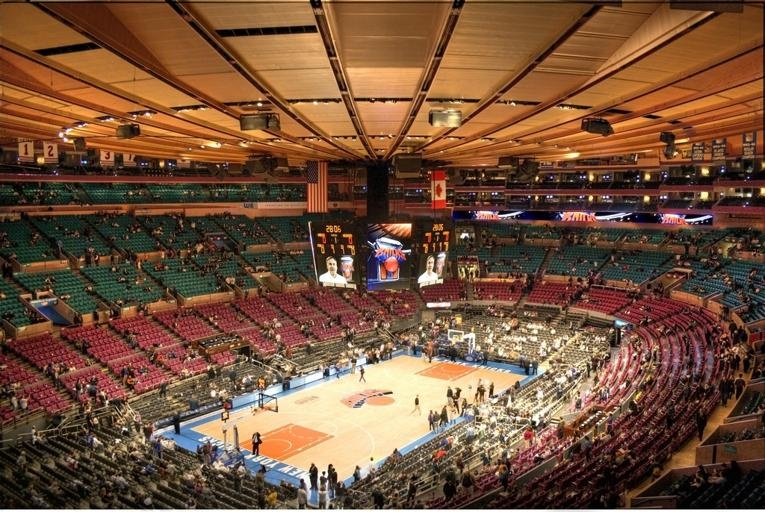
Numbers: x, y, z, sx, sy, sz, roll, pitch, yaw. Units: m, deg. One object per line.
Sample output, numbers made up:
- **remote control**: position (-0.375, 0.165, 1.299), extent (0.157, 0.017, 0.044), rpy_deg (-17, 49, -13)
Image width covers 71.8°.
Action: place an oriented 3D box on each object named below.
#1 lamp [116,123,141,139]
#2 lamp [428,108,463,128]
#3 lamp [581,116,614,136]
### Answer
- **lamp**: position (-8.643, -4.249, 17.960), extent (0.896, 0.443, 0.306), rpy_deg (1, 2, 26)
- **lamp**: position (1.840, -4.161, 15.736), extent (0.920, 0.571, 0.598), rpy_deg (0, 1, -2)
- **lamp**: position (6.878, -4.099, 16.661), extent (1.358, 0.418, 0.659), rpy_deg (5, 2, -16)
